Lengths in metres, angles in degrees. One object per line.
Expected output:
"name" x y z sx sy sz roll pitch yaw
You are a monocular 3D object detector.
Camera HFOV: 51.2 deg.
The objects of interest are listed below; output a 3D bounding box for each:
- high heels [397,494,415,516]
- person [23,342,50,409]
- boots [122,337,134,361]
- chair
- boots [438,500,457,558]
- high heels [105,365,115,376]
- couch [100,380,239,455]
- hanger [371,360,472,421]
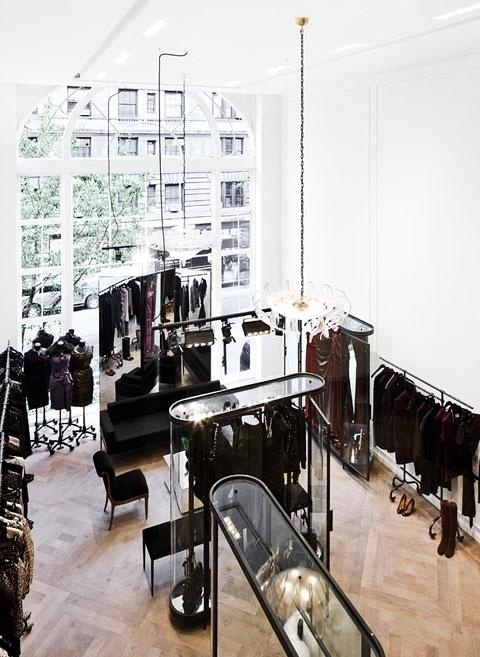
"high heels" 1.893 2.005 5.705 0.117 0.132 0.256 -1 2 24
"person" -2.733 0.651 6.766 0.322 0.893 0.222 -6 10 -32
"boots" -1.531 0.280 6.839 0.144 0.364 0.072 -4 9 -26
"chair" -1.275 1.728 5.486 0.472 0.905 0.451 -16 24 -31
"boots" 2.090 1.987 5.026 0.176 0.448 0.432 4 11 27
"high heels" -1.764 0.564 6.793 0.085 0.163 0.293 -1 -3 -18
"couch" -1.187 1.279 7.078 1.545 0.571 0.599 -8 13 -32
"hanger" 1.981 0.626 5.438 0.277 0.492 1.024 -4 12 -28
